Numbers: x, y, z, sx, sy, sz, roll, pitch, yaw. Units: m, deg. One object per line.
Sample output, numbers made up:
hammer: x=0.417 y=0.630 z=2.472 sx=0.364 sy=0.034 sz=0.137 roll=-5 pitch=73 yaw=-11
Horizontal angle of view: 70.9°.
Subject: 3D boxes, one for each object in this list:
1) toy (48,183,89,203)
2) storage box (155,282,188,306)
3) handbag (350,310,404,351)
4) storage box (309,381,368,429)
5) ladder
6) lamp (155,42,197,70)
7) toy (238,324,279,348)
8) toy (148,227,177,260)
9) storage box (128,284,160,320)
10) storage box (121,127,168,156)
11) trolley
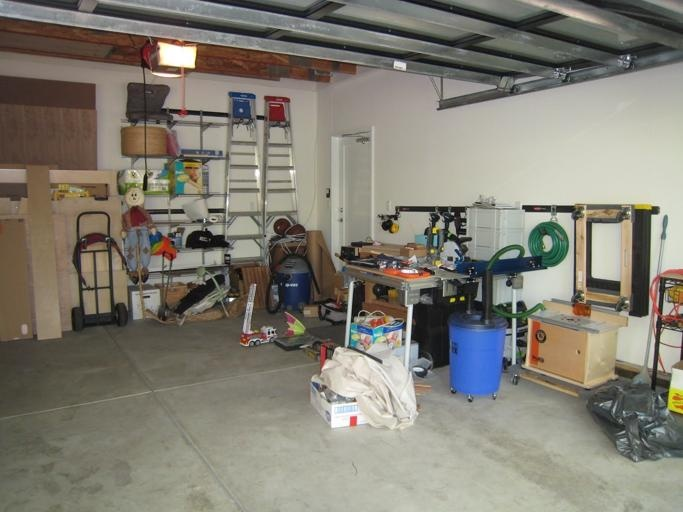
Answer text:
toy: x=-3.625 y=-0.862 z=6.385 sx=0.380 sy=0.173 sz=0.225 roll=-3 pitch=12 yaw=-23
storage box: x=-2.552 y=0.533 z=7.242 sx=0.399 sy=0.294 sz=0.273 roll=-6 pitch=18 yaw=-33
handbag: x=0.353 y=0.701 z=4.892 sx=0.408 sy=0.298 sz=0.399 roll=-7 pitch=11 yaw=-31
storage box: x=0.021 y=1.182 z=3.983 sx=0.304 sy=0.179 sz=0.425 roll=-1 pitch=13 yaw=-27
ladder: x=-1.404 y=-1.336 z=8.256 sx=1.339 sy=2.863 sz=0.614 roll=-4 pitch=13 yaw=-19
lamp: x=-1.678 y=-2.056 z=4.889 sx=0.372 sy=0.302 sz=0.312 roll=-4 pitch=12 yaw=-19
toy: x=-1.041 y=0.952 z=5.910 sx=0.449 sy=0.180 sz=0.420 roll=-5 pitch=12 yaw=-23
toy: x=-2.665 y=-0.165 z=7.177 sx=0.336 sy=0.454 sz=0.163 roll=2 pitch=36 yaw=22
storage box: x=-2.797 y=0.645 z=6.810 sx=0.454 sy=0.445 sz=0.455 roll=-2 pitch=1 yaw=-31
storage box: x=-2.949 y=-1.708 z=7.133 sx=0.506 sy=0.305 sz=0.498 roll=-5 pitch=8 yaw=-43
trolley: x=-3.260 y=0.169 z=6.408 sx=0.730 sy=1.536 sz=0.654 roll=-6 pitch=13 yaw=-24
